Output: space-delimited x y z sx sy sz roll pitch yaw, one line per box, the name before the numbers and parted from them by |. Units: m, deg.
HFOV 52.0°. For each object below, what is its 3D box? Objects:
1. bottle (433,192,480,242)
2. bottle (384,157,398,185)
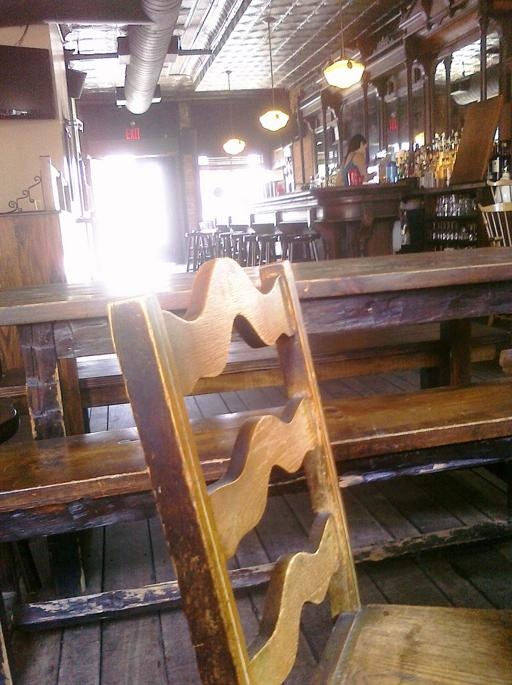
bottle | 2.052 -1.283 5.337 0.460 0.510 0.170 25 39 28
bottle | 1.571 -2.019 6.115 0.160 0.325 0.581 4 14 14
